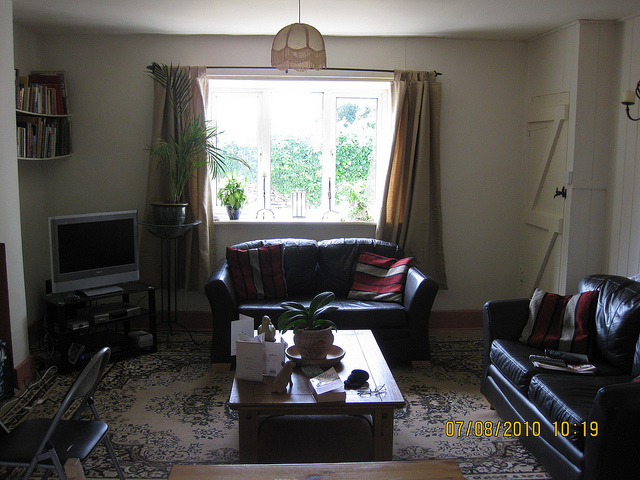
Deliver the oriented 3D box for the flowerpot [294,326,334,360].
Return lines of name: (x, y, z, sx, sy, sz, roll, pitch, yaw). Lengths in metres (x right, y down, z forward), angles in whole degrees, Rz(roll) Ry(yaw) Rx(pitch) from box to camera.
flowerpot: (-0.036, 0.711, 3.513, 0.294, 0.228, 0.297, -4, 5, -4)

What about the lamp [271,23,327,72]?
lamp: (-0.136, -1.410, 3.624, 0.403, 0.355, 0.413, 4, 12, 12)

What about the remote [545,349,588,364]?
remote: (1.732, 0.831, 3.531, 0.134, 0.040, 0.146, 11, 0, -9)

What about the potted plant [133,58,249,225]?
potted plant: (-1.341, -1.047, 5.132, 0.872, 1.662, 0.755, -5, 12, -20)

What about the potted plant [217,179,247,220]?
potted plant: (-0.994, -0.433, 5.477, 0.326, 0.433, 0.271, -5, 3, -18)

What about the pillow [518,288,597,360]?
pillow: (1.844, 0.536, 3.897, 0.543, 0.533, 0.144, -4, 3, -6)

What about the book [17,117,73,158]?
book: (-2.829, -1.067, 5.245, 1.042, 0.406, 0.337, 7, 7, 42)

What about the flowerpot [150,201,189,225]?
flowerpot: (-1.467, -0.244, 4.863, 0.245, 0.176, 0.250, 4, 4, 43)

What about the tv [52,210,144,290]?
tv: (-2.089, 0.107, 4.627, 0.068, 0.624, 0.692, -3, 3, 45)

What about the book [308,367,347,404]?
book: (0.036, 0.933, 3.194, 0.212, 0.088, 0.277, -2, 11, -7)

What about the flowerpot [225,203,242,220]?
flowerpot: (-0.953, -0.308, 5.350, 0.149, 0.134, 0.158, 1, 7, -3)

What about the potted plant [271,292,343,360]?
potted plant: (-0.078, 0.654, 3.535, 0.391, 0.490, 0.370, 1, -11, 14)

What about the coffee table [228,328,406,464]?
coffee table: (-0.004, 1.063, 3.520, 1.105, 0.497, 1.038, 0, 12, 3)

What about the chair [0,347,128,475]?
chair: (-1.461, 1.014, 2.763, 0.548, 0.772, 0.514, 0, 11, 1)
